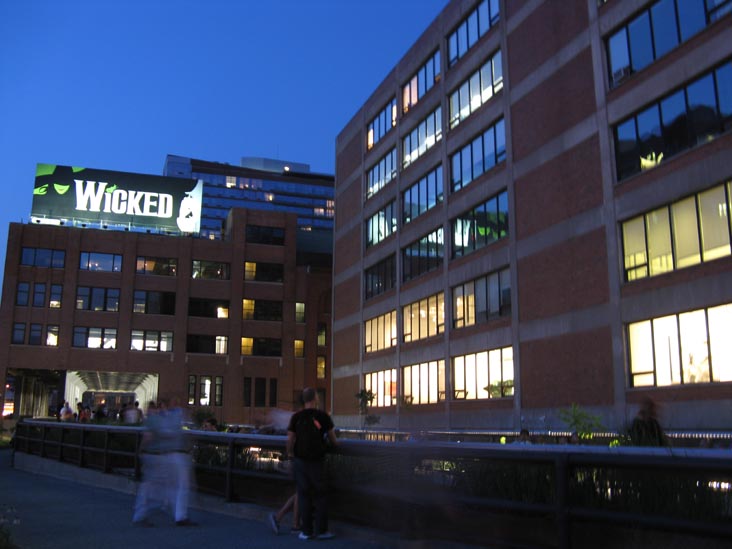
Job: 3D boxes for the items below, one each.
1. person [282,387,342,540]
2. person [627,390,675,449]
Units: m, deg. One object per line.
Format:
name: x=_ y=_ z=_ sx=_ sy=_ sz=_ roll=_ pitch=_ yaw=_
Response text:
person: x=-0.855 y=3.065 z=10.695 sx=0.876 sy=2.343 sz=0.352 roll=-7 pitch=-16 yaw=26
person: x=5.757 y=3.115 z=13.313 sx=0.568 sy=1.099 sz=0.687 roll=11 pitch=-10 yaw=18
